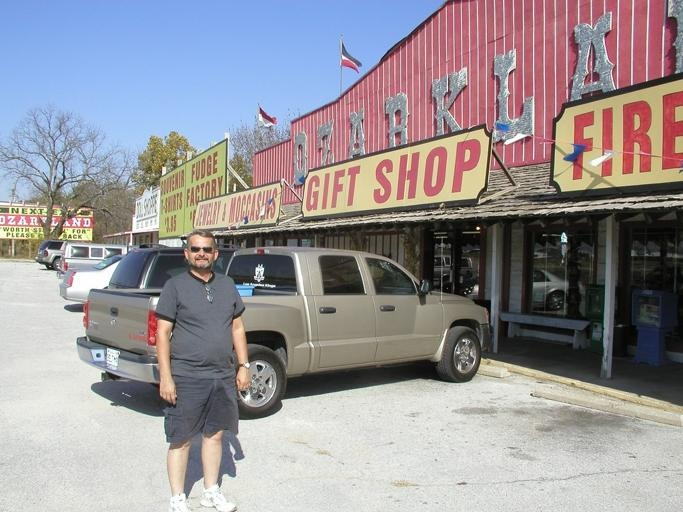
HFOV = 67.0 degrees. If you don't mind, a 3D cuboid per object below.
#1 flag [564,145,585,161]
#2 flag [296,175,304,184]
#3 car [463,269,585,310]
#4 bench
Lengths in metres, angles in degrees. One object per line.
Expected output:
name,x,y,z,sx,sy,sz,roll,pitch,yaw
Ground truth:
flag,4.198,-1.851,9.258,0.264,0.342,0.200,28,-2,36
flag,-1.726,-3.295,22.452,0.112,0.451,0.420,7,3,-31
car,4.698,0.834,12.836,1.978,1.041,1.020,0,1,19
bench,5.095,1.885,12.855,0.526,0.809,2.175,-2,3,-43
